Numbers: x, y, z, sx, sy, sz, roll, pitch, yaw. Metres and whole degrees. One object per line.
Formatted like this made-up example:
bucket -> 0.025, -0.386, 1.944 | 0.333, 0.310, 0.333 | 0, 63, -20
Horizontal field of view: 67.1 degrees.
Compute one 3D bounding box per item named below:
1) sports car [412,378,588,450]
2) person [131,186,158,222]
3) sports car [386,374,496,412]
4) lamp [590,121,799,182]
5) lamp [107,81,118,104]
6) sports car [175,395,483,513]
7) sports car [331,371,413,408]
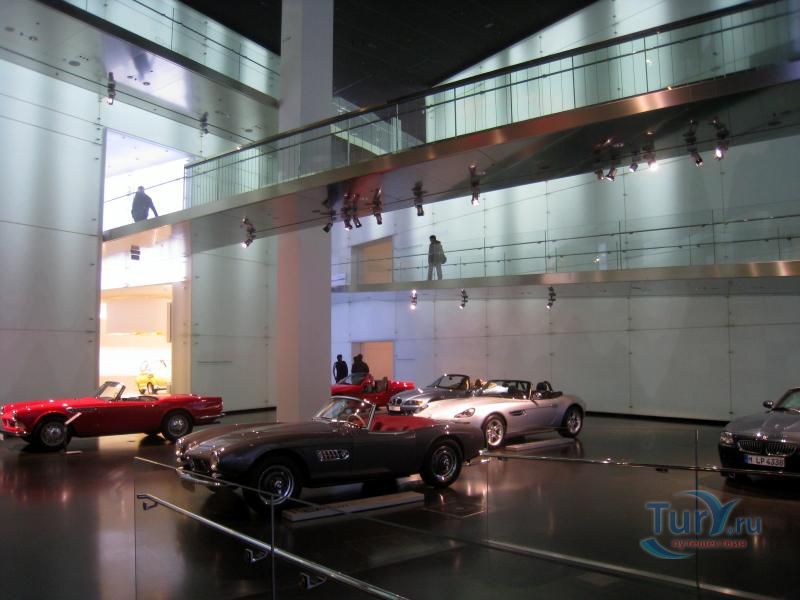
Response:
sports car -> 2.036, 2.063, 11.698 | 2.964, 0.910, 1.408 | 7, -12, -39
person -> -6.151, -2.374, 14.396 | 0.284, 0.884, 1.247 | 0, -7, -43
sports car -> 0.783, 2.166, 14.318 | 1.972, 0.643, 0.930 | 2, -9, -32
lamp -> 3.813, -2.121, 8.956 | 1.910, 0.377, 1.657 | -7, -6, 27
lamp -> -7.030, -4.957, 14.686 | 0.192, 0.639, 0.982 | -2, -5, -25
sports car -> -0.830, 1.901, 8.108 | 3.233, 0.982, 1.733 | 5, -11, -30
sports car -> -0.926, 2.381, 16.533 | 2.133, 0.690, 1.290 | 9, -12, -40
